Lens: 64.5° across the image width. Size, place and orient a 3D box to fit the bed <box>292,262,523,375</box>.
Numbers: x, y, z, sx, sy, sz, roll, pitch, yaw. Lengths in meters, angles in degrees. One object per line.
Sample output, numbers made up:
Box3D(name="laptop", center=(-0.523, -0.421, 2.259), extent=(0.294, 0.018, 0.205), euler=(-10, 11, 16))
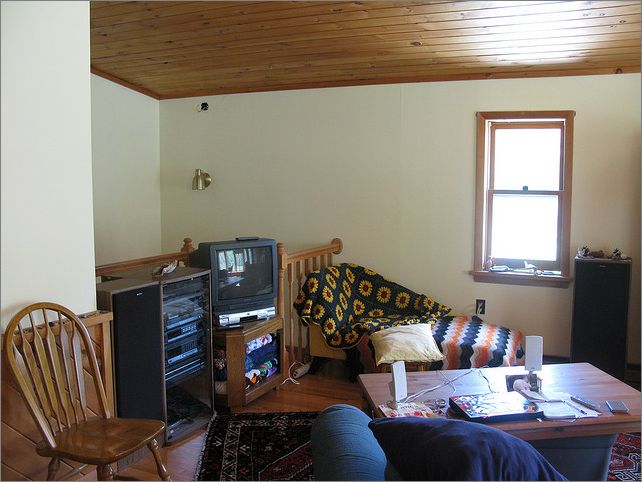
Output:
Box3D(name="bed", center=(0.811, 0.692, 4.303), extent=(1.534, 0.647, 1.052), euler=(5, 14, 25))

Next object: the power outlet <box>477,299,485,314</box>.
Box3D(name="power outlet", center=(1.469, 0.606, 4.667), extent=(0.123, 0.110, 0.032), euler=(7, -1, 32))

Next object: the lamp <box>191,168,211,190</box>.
Box3D(name="lamp", center=(-1.261, -0.631, 5.297), extent=(0.225, 0.229, 0.180), euler=(1, 14, 4))

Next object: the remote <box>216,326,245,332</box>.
Box3D(name="remote", center=(-0.664, 0.635, 3.701), extent=(0.201, 0.030, 0.056), euler=(-4, 14, -16))

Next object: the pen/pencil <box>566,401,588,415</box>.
Box3D(name="pen/pencil", center=(1.394, 0.906, 2.787), extent=(0.022, 0.022, 0.154), euler=(-4, 17, -15))

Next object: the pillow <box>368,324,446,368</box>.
Box3D(name="pillow", center=(0.665, 0.805, 3.987), extent=(0.544, 0.174, 0.397), euler=(-2, 13, -9))
